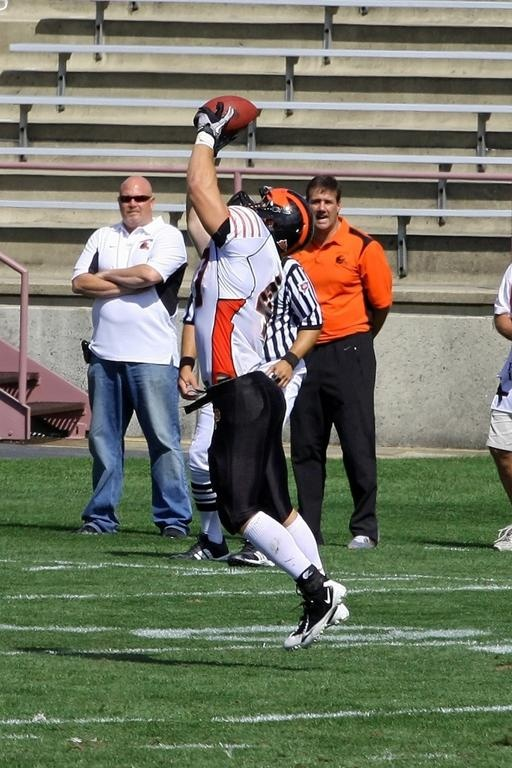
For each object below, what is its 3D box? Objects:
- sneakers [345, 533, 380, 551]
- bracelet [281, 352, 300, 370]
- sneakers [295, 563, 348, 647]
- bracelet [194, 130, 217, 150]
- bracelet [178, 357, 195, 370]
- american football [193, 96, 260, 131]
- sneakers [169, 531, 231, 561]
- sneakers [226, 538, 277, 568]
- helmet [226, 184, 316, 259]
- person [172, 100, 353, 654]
[{"bbox_3d":[0.536,0.787,11.033,0.059,0.081,0.168,-5,-10,38],"label":"sneakers"},{"bbox_3d":[0.145,-0.106,8.995,0.064,0.057,0.071,29,-13,30],"label":"bracelet"},{"bbox_3d":[0.248,0.866,8.591,0.191,0.309,0.178,2,7,5],"label":"sneakers"},{"bbox_3d":[-0.210,-1.001,8.916,0.043,0.063,0.128,0,-1,8],"label":"bracelet"},{"bbox_3d":[-0.337,-0.102,10.181,0.054,0.060,0.052,-11,-24,-41],"label":"bracelet"},{"bbox_3d":[-0.112,-1.127,9.066,0.201,0.146,0.154,-1,-21,-18],"label":"american football"},{"bbox_3d":[-0.271,0.767,10.497,0.299,0.162,0.112,4,-2,-24],"label":"sneakers"},{"bbox_3d":[-0.034,0.799,10.421,0.098,0.146,0.277,-6,-14,45],"label":"sneakers"},{"bbox_3d":[0.060,-0.772,9.307,0.279,0.353,0.249,-32,-17,2],"label":"helmet"},{"bbox_3d":[-0.003,-0.073,8.783,0.468,2.116,0.926,-3,8,-33],"label":"person"}]
